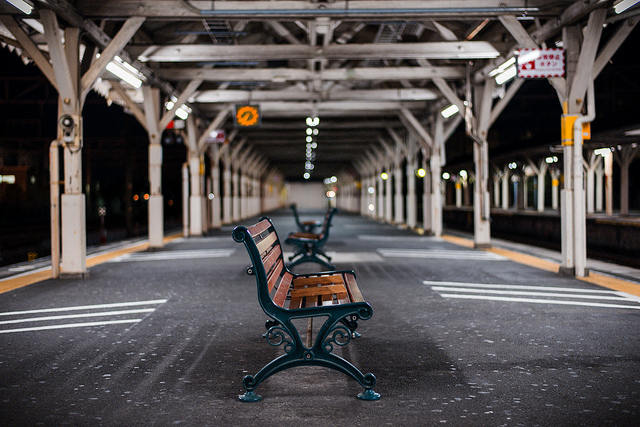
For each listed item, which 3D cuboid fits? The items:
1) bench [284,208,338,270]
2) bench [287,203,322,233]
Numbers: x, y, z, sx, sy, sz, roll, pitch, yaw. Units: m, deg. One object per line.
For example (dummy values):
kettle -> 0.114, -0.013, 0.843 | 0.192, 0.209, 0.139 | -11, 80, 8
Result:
bench -> -0.217, 0.629, 15.179 | 1.279, 1.652, 1.134 | 2, -2, -1
bench -> -0.503, 0.181, 19.859 | 1.119, 1.293, 0.899 | -3, 1, 1
